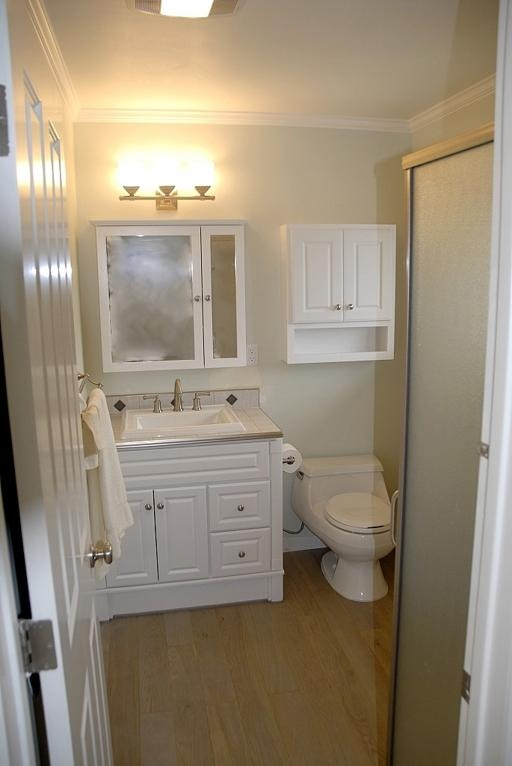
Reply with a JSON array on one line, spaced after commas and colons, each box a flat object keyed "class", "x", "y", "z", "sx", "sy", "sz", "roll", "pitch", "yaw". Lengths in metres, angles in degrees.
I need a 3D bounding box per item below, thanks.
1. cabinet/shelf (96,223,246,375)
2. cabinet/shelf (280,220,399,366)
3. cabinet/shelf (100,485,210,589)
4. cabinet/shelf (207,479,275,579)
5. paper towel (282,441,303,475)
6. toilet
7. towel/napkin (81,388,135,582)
[{"class": "cabinet/shelf", "x": -0.442, "y": -0.441, "z": 2.600, "sx": 0.524, "sy": 0.694, "sz": 0.238, "roll": -1, "pitch": 6, "yaw": -9}, {"class": "cabinet/shelf", "x": 0.417, "y": -0.487, "z": 2.687, "sx": 0.535, "sy": 0.888, "sz": 0.276, "roll": -1, "pitch": 5, "yaw": -6}, {"class": "cabinet/shelf", "x": -0.441, "y": 0.606, "z": 2.359, "sx": 0.453, "sy": 0.553, "sz": 0.283, "roll": -1, "pitch": 27, "yaw": -8}, {"class": "cabinet/shelf", "x": -0.088, "y": 0.635, "z": 2.536, "sx": 0.295, "sy": 0.577, "sz": 0.339, "roll": -1, "pitch": 4, "yaw": -12}, {"class": "paper towel", "x": 0.174, "y": 0.360, "z": 2.585, "sx": 0.106, "sy": 0.156, "sz": 0.151, "roll": -5, "pitch": 3, "yaw": -5}, {"class": "toilet", "x": 0.475, "y": 0.694, "z": 2.684, "sx": 0.372, "sy": 0.558, "sz": 0.650, "roll": -2, "pitch": 7, "yaw": -11}, {"class": "towel/napkin", "x": -0.487, "y": 0.335, "z": 1.694, "sx": 0.118, "sy": 0.613, "sz": 0.390, "roll": -1, "pitch": 6, "yaw": -2}]
